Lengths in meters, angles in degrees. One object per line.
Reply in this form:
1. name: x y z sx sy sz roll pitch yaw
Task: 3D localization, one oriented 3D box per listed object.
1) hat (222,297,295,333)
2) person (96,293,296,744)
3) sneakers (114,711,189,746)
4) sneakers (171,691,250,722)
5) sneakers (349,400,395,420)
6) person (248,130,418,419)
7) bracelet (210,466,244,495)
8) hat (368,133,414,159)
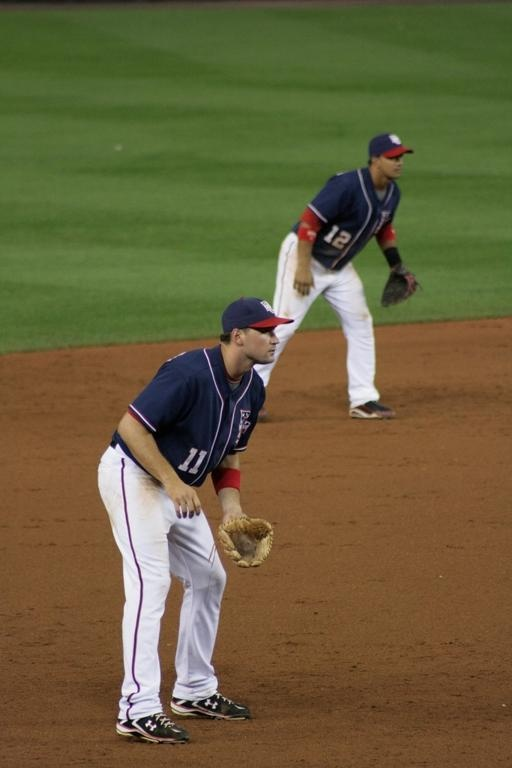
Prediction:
1. hat: -0.006 -0.232 4.999 0.182 0.102 0.126 -1 10 8
2. person: -0.241 0.462 5.029 0.781 1.467 0.463 -15 18 -39
3. sneakers: -0.343 1.166 4.936 0.251 0.140 0.101 2 5 9
4. sneakers: -0.159 1.149 5.171 0.288 0.132 0.108 0 -2 13
5. sneakers: 0.705 0.157 8.493 0.257 0.126 0.109 -1 -3 29
6. person: 0.505 -0.611 8.425 0.881 1.668 0.894 -1 14 6
7. bracelet: -0.104 0.349 5.235 0.088 0.075 0.096 -2 0 1
8. hat: 0.734 -1.296 7.910 0.272 0.144 0.208 2 14 26
